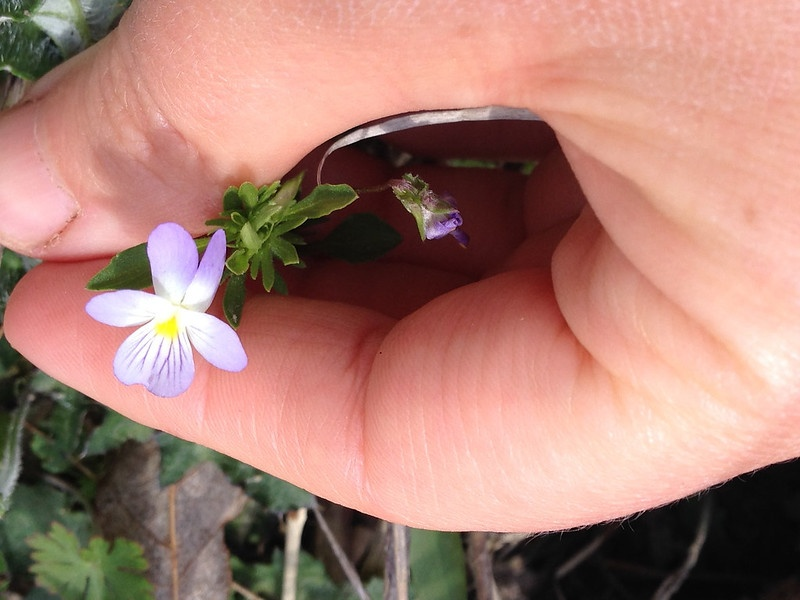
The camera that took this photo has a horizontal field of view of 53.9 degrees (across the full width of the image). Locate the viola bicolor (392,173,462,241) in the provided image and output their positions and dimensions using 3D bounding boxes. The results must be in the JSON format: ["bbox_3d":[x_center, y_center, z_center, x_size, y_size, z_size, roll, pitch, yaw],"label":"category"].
[{"bbox_3d":[0.041,-0.125,1.059,0.062,0.095,0.082,-33,64,3],"label":"viola bicolor"}]

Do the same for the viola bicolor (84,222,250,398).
[{"bbox_3d":[-0.287,-0.014,0.950,0.225,0.062,0.235,53,125,25],"label":"viola bicolor"}]
